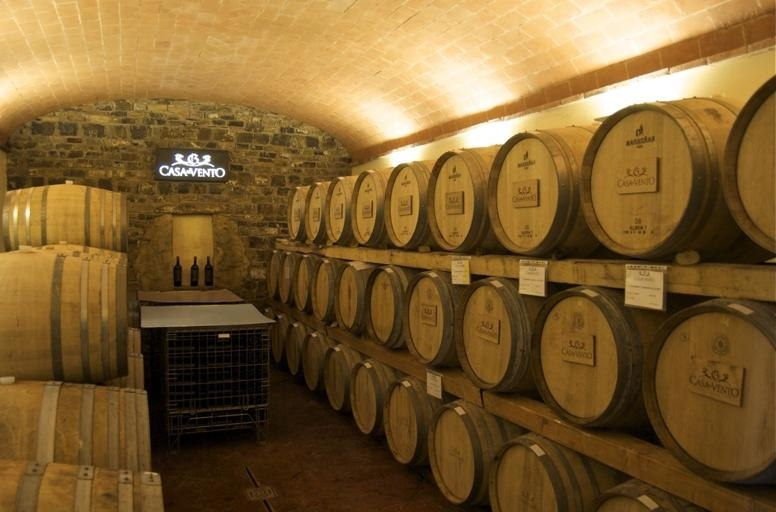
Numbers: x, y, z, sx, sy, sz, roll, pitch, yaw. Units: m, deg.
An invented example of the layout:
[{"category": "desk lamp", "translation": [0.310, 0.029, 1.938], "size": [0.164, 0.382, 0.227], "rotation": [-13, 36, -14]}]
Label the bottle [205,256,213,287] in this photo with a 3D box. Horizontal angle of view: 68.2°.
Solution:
[{"category": "bottle", "translation": [-2.991, 0.270, 9.690], "size": [0.142, 0.486, 0.163], "rotation": [-2, 8, -11]}]

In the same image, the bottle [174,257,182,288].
[{"category": "bottle", "translation": [-3.490, 0.271, 9.573], "size": [0.138, 0.499, 0.136], "rotation": [0, 8, 0]}]
